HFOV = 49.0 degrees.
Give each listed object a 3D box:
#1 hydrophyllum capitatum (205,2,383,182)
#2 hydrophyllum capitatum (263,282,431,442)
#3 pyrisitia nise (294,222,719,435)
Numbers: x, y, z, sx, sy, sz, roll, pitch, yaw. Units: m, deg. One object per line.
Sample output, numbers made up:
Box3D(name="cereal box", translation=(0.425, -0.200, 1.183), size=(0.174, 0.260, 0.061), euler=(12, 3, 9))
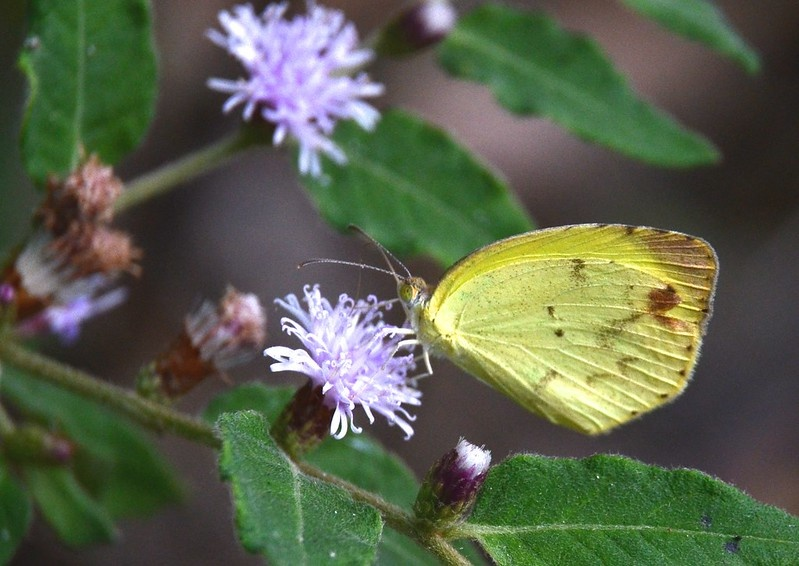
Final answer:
Box3D(name="hydrophyllum capitatum", translation=(-0.281, -0.546, 2.399), size=(0.508, 0.476, 0.215), euler=(12, 0, -17))
Box3D(name="hydrophyllum capitatum", translation=(-0.153, 0.242, 2.386), size=(0.428, 0.428, 0.383), euler=(11, 0, -9))
Box3D(name="pyrisitia nise", translation=(0.460, 0.097, 2.685), size=(0.813, 0.475, 0.806), euler=(9, -10, -1))
